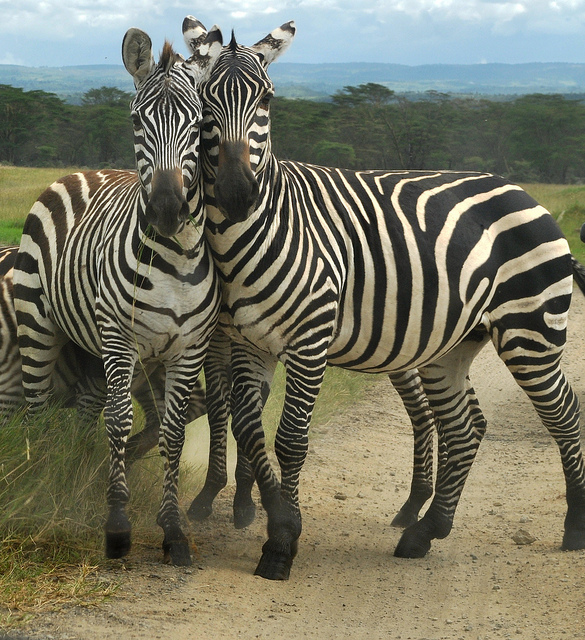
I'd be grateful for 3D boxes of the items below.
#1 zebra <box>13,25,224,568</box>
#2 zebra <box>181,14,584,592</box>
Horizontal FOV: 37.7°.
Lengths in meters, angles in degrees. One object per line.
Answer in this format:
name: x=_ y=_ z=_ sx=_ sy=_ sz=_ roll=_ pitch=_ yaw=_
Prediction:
zebra: x=-0.870 y=-0.032 z=4.558 sx=0.879 sy=2.526 sz=2.991 roll=1 pitch=0 yaw=-22
zebra: x=0.503 y=-0.039 z=4.775 sx=2.469 sy=2.846 sz=1.020 roll=4 pitch=6 yaw=-23
